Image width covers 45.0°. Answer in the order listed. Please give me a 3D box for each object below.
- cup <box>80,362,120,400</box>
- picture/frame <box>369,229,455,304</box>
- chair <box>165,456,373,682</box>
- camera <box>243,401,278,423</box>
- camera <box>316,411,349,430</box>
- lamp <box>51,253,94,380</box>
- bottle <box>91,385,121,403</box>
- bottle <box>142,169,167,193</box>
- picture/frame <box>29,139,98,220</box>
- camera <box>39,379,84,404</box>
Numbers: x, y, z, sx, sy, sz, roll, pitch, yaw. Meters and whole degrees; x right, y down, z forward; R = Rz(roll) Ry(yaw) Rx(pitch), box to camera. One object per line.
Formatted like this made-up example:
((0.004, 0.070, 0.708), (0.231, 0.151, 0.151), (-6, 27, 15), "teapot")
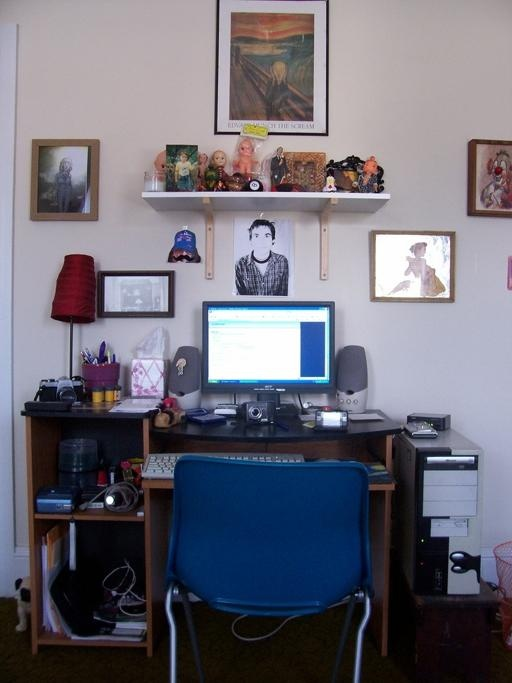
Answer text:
((-0.569, 0.142, 2.261), (0.111, 0.113, 0.126), (0, 2, 9), "cup")
((0.614, -0.302, 2.420), (0.259, 0.234, 0.028), (-1, 3, 1), "picture/frame")
((0.033, 0.497, 1.668), (0.441, 0.826, 0.575), (1, 8, 1), "chair")
((0.006, 0.233, 2.176), (0.094, 0.066, 0.070), (0, -2, -1), "camera")
((0.247, 0.256, 2.019), (0.084, 0.062, 0.061), (0, -3, 2), "camera")
((-0.696, -0.099, 2.357), (0.158, 0.468, 0.237), (1, 1, -15), "lamp")
((-0.542, 0.190, 2.233), (0.102, 0.068, 0.047), (1, 0, -13), "bottle")
((-0.375, -0.588, 2.276), (0.074, 0.090, 0.077), (0, 2, -7), "bottle")
((-0.751, -0.639, 2.426), (0.297, 0.370, 0.015), (0, 2, -4), "picture/frame")
((-0.680, 0.152, 2.163), (0.122, 0.068, 0.087), (2, -3, -30), "camera")
